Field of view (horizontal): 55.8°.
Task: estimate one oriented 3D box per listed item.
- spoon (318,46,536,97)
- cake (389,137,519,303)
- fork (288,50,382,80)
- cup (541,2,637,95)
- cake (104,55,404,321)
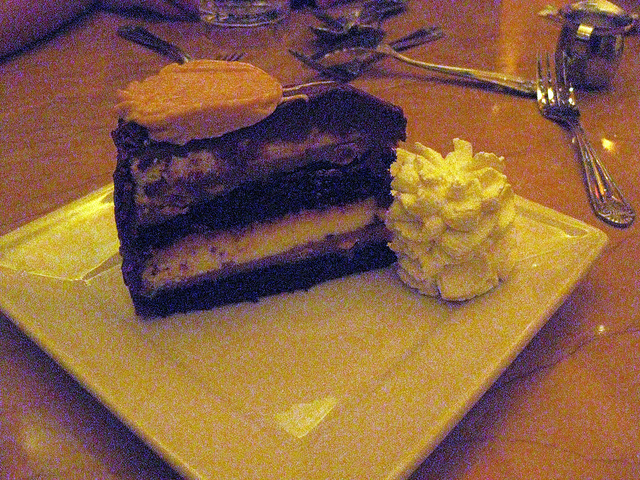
[{"bbox_3d":[0.215,-0.371,1.336,0.347,0.020,0.114,15,51,7],"label":"spoon"},{"bbox_3d":[0.282,-0.036,1.234,0.266,0.242,0.242,7,42,5],"label":"cake"},{"bbox_3d":[0.027,-0.373,1.304,0.215,0.068,0.065,-5,16,-19],"label":"fork"},{"bbox_3d":[0.633,-0.457,1.420,0.155,0.204,0.242,14,34,30],"label":"cup"},{"bbox_3d":[-0.120,-0.133,1.461,0.794,0.599,0.505,-7,31,-11],"label":"cake"}]
